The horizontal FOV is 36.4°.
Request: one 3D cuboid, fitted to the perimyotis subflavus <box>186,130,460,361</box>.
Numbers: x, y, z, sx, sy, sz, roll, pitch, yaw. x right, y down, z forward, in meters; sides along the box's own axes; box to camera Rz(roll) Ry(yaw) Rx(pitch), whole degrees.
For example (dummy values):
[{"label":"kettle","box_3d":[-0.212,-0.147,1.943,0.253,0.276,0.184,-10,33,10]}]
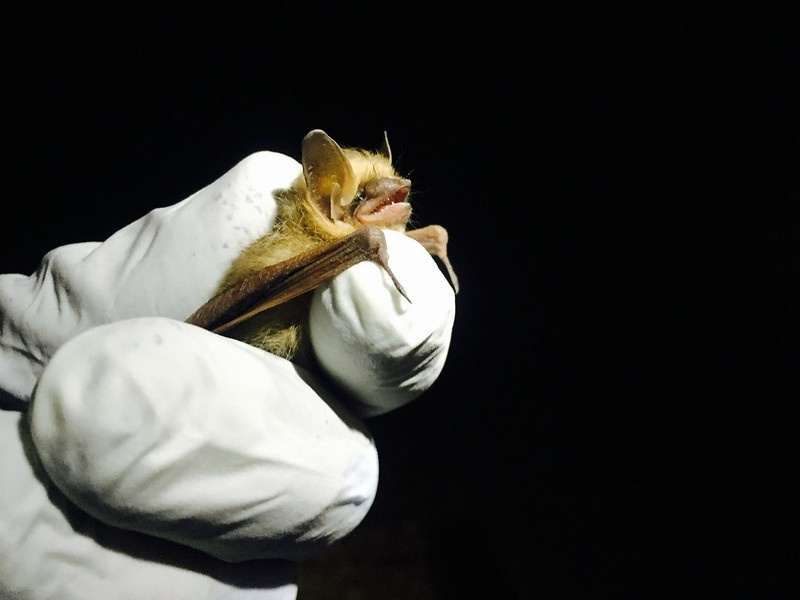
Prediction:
[{"label":"perimyotis subflavus","box_3d":[-0.132,-0.083,1.757,0.398,0.291,0.273,3,8,32]}]
